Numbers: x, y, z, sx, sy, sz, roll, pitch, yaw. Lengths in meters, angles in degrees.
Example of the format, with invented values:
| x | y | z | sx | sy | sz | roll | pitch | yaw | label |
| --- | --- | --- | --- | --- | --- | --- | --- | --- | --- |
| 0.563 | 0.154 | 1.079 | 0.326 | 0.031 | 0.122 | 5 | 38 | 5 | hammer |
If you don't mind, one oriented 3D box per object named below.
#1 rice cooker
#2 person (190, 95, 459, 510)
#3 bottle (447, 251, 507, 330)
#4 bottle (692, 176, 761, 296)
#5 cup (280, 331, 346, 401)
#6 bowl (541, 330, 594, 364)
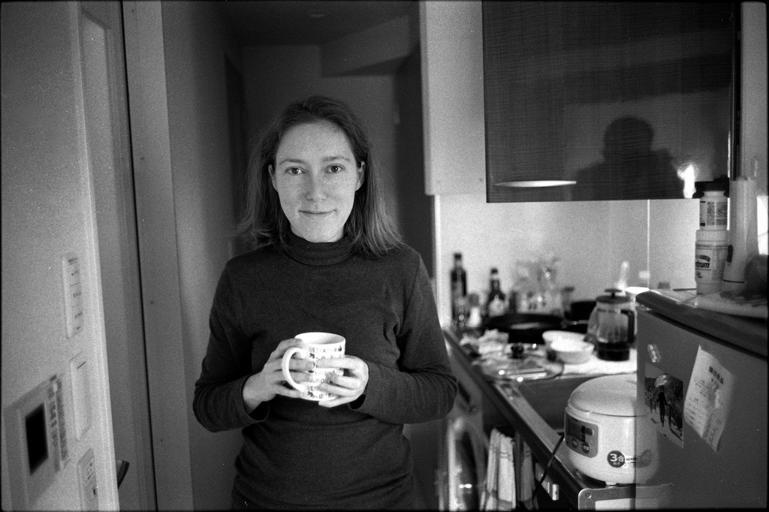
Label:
| x | y | z | sx | sy | sz | roll | pitch | yaw | label |
| --- | --- | --- | --- | --- | --- | --- | --- | --- | --- |
| 0.634 | 0.473 | 1.558 | 0.253 | 0.203 | 0.227 | -2 | -2 | -1 | rice cooker |
| -0.163 | 0.138 | 1.457 | 0.507 | 1.065 | 0.448 | -9 | 8 | -42 | person |
| 0.250 | 0.085 | 1.611 | 0.222 | 0.270 | 0.084 | -3 | 17 | -10 | bottle |
| 0.796 | -0.046 | 1.359 | 0.097 | 0.272 | 0.129 | -6 | 7 | -24 | bottle |
| -0.143 | 0.238 | 1.268 | 0.116 | 0.140 | 0.162 | -2 | 6 | 7 | cup |
| 0.524 | 0.261 | 1.677 | 0.108 | 0.044 | 0.110 | 1 | 1 | 0 | bowl |
